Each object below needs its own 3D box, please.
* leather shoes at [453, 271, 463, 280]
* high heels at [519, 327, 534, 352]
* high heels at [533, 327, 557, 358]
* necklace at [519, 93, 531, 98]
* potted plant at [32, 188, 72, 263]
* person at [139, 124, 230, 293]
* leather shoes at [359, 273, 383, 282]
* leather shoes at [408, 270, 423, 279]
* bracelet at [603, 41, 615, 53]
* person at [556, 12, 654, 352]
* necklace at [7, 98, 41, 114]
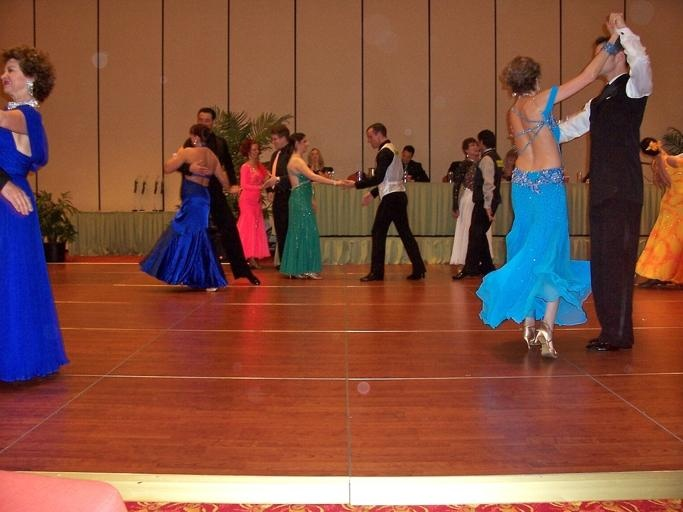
[{"bbox_3d":[1.298,0.236,7.352,0.060,0.080,0.170,-4,-5,35],"label":"leather shoes"},{"bbox_3d":[1.154,0.510,4.087,0.049,0.064,0.162,-1,-32,8],"label":"high heels"},{"bbox_3d":[1.195,0.513,3.881,0.067,0.193,0.094,-17,-14,18],"label":"high heels"},{"bbox_3d":[1.117,-0.974,4.019,0.060,0.020,0.022,3,12,20],"label":"necklace"},{"bbox_3d":[-4.135,-0.412,9.697,0.584,0.945,0.546,0,0,19],"label":"potted plant"},{"bbox_3d":[-1.466,-0.432,6.311,0.816,1.605,0.357,-4,10,-13],"label":"person"},{"bbox_3d":[0.327,0.245,7.157,0.244,0.119,0.096,2,1,-8],"label":"leather shoes"},{"bbox_3d":[0.826,0.210,7.273,0.185,0.113,0.269,-1,11,4],"label":"leather shoes"},{"bbox_3d":[1.579,-1.214,3.862,0.074,0.064,0.053,3,12,23],"label":"bracelet"},{"bbox_3d":[1.631,-0.424,4.059,0.409,1.992,0.530,-5,11,-20],"label":"person"},{"bbox_3d":[-1.663,-0.769,3.473,0.084,0.041,0.113,0,5,-1],"label":"necklace"}]
